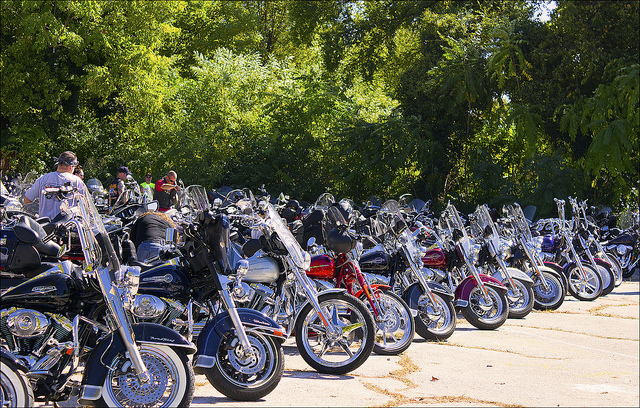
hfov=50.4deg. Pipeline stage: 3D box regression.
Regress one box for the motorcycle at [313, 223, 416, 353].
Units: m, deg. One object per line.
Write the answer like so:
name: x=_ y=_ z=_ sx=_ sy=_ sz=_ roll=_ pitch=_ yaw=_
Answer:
motorcycle: x=0.805 y=1.503 z=11.795 sx=2.248 sy=1.548 sz=1.448 roll=2 pitch=-1 yaw=7

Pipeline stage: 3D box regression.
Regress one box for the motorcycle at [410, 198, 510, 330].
motorcycle: x=2.652 y=1.359 z=13.013 sx=2.535 sy=1.669 sz=1.692 roll=4 pitch=3 yaw=31

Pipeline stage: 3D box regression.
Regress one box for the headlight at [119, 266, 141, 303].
headlight: x=-2.596 y=1.106 z=9.305 sx=0.253 sy=0.477 sz=0.211 roll=1 pitch=0 yaw=-12

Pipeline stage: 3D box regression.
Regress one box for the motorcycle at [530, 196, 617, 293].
motorcycle: x=6.291 y=0.894 z=16.592 sx=2.779 sy=1.897 sz=1.925 roll=13 pitch=-5 yaw=12

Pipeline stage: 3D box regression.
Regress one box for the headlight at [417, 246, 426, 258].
headlight: x=1.839 y=0.879 z=12.311 sx=0.118 sy=0.189 sz=0.259 roll=8 pitch=12 yaw=25

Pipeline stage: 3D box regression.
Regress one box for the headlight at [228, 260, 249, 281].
headlight: x=-1.197 y=1.016 z=9.965 sx=0.192 sy=0.331 sz=0.175 roll=22 pitch=-12 yaw=-7

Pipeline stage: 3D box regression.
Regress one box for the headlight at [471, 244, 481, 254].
headlight: x=3.003 y=0.869 z=13.100 sx=0.134 sy=0.180 sz=0.181 roll=-7 pitch=-13 yaw=42

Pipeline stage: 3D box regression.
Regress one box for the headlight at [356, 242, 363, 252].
headlight: x=0.656 y=0.725 z=11.395 sx=0.119 sy=0.112 sz=0.201 roll=1 pitch=-6 yaw=2

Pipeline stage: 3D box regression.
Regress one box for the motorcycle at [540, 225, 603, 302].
motorcycle: x=5.922 y=1.448 z=16.353 sx=1.922 sy=1.313 sz=1.296 roll=15 pitch=-4 yaw=15

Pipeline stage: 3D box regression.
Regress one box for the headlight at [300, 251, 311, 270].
headlight: x=-0.236 y=0.898 z=10.703 sx=0.137 sy=0.277 sz=0.260 roll=3 pitch=11 yaw=1
